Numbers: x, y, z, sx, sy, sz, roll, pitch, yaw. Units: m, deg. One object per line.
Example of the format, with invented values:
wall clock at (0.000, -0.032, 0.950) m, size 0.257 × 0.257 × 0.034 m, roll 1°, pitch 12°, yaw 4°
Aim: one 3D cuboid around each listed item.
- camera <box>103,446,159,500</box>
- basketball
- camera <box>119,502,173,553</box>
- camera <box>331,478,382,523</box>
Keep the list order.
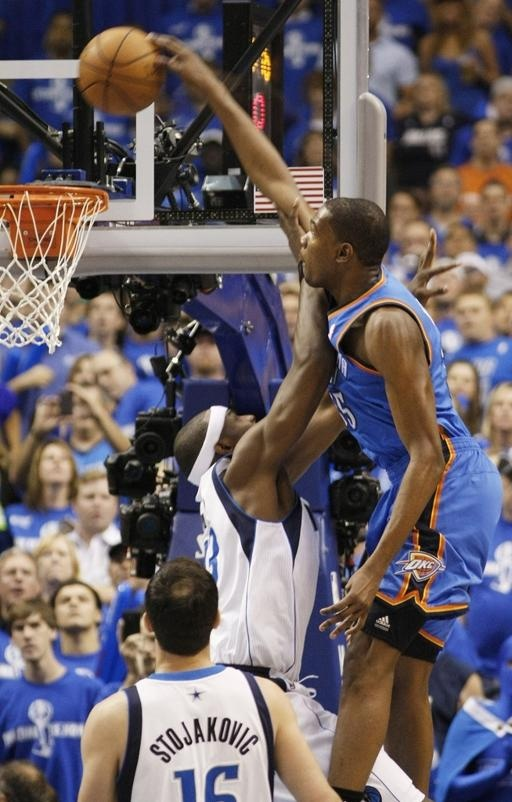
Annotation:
camera at (-0.524, 0.296, 5.176) m, size 0.222 × 0.185 × 0.211 m, roll 9°, pitch -20°, yaw -43°
basketball at (-0.432, -1.012, 3.766) m, size 0.313 × 0.267 × 0.168 m, roll 15°, pitch 15°, yaw 41°
camera at (-0.449, 0.512, 5.004) m, size 0.205 × 0.196 × 0.209 m, roll 0°, pitch -1°, yaw 1°
camera at (0.393, 0.396, 4.955) m, size 0.227 × 0.205 × 0.177 m, roll 0°, pitch -2°, yaw 0°
